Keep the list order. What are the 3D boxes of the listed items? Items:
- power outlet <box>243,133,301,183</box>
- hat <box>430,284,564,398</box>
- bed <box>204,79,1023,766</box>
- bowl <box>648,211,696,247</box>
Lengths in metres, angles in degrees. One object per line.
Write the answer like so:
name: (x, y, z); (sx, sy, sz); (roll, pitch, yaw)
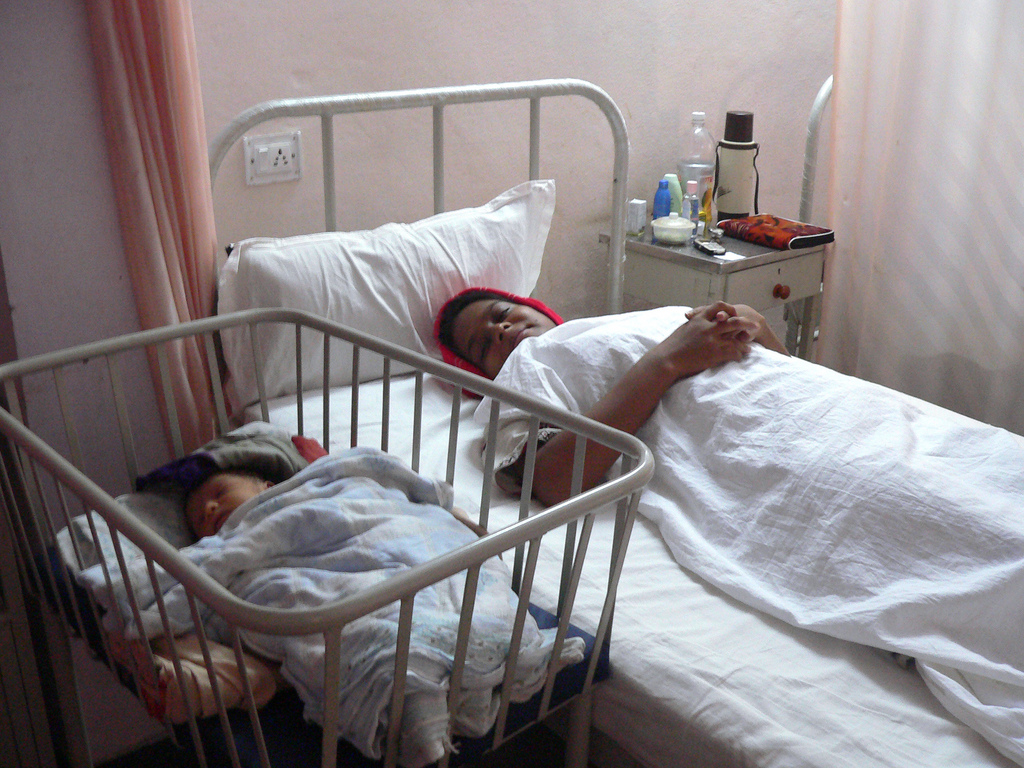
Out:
power outlet: (-0.585, -0.552, 1.911); (0.105, 0.096, 0.018); (-16, 25, -37)
hat: (-0.042, -0.129, 1.839); (0.269, 0.238, 0.114); (9, 6, -3)
bed: (0.237, 0.160, 1.652); (1.018, 0.996, 1.430); (-20, 41, -29)
bowl: (0.456, -0.456, 2.319); (0.098, 0.074, 0.099); (-1, 25, 0)
